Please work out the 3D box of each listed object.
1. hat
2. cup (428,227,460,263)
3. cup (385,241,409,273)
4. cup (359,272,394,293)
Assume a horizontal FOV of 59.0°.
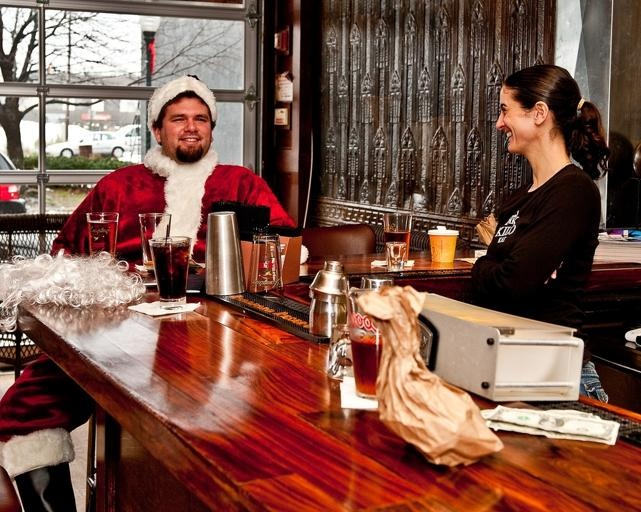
[{"bbox_3d":[-0.715,-0.777,2.826,0.245,0.220,0.298,-5,-6,-24],"label":"hat"},{"bbox_3d":[0.531,-0.048,2.387,0.142,0.171,0.145,0,2,0],"label":"cup"},{"bbox_3d":[0.287,0.008,2.100,0.092,0.112,0.095,-1,4,0],"label":"cup"},{"bbox_3d":[0.107,0.046,1.032,0.034,0.032,0.035,1,4,0],"label":"cup"}]
